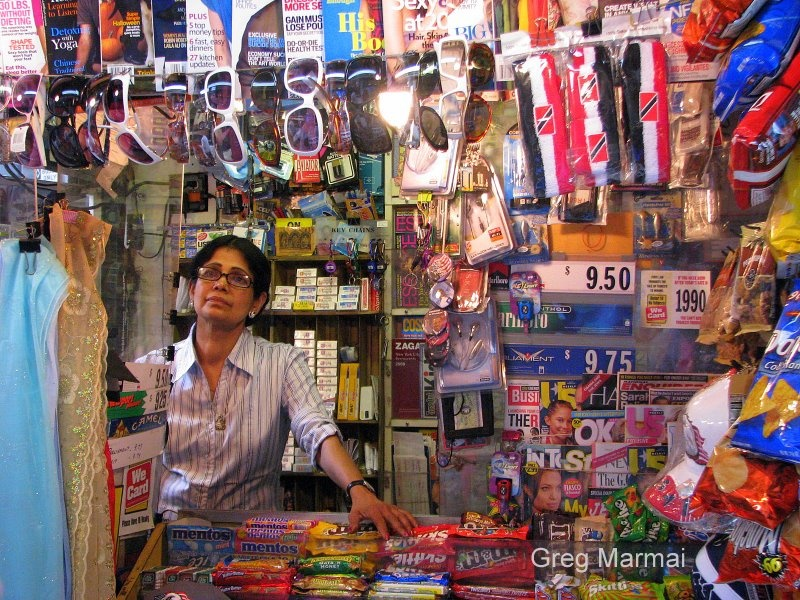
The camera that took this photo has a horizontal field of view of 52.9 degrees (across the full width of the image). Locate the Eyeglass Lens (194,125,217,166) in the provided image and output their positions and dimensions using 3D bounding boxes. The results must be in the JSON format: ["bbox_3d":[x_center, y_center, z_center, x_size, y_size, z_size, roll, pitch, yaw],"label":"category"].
[{"bbox_3d":[-0.714,-0.568,2.967,0.087,0.131,0.053,11,27,30],"label":"Eyeglass Lens"}]

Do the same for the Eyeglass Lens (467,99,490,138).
[{"bbox_3d":[0.274,-0.657,2.937,0.106,0.134,0.044,4,1,-37],"label":"Eyeglass Lens"}]

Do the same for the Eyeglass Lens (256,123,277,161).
[{"bbox_3d":[-0.478,-0.583,2.927,0.097,0.131,0.023,12,20,20],"label":"Eyeglass Lens"}]

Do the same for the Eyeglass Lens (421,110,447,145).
[{"bbox_3d":[0.119,-0.612,2.856,0.025,0.111,0.089,-2,34,41],"label":"Eyeglass Lens"}]

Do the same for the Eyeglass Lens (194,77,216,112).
[{"bbox_3d":[-0.706,-0.750,2.951,0.086,0.126,0.049,8,11,43],"label":"Eyeglass Lens"}]

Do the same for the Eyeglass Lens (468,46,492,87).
[{"bbox_3d":[0.292,-0.836,2.867,0.109,0.135,0.063,-1,15,-1],"label":"Eyeglass Lens"}]

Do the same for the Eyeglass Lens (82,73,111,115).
[{"bbox_3d":[-1.091,-0.755,2.910,0.112,0.042,0.120,-11,-25,-13],"label":"Eyeglass Lens"}]

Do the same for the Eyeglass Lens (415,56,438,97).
[{"bbox_3d":[0.098,-0.780,2.803,0.077,0.120,0.034,0,-2,3],"label":"Eyeglass Lens"}]

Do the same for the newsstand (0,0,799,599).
[{"bbox_3d":[0.028,-0.033,2.849,2.251,2.174,0.289,0,-5,5],"label":"newsstand"}]

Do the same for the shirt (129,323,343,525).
[{"bbox_3d":[-0.565,0.477,3.057,1.021,0.761,0.574,1,-10,-4],"label":"shirt"}]

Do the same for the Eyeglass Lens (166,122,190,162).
[{"bbox_3d":[-0.830,-0.589,3.007,0.086,0.165,0.056,-2,-11,-25],"label":"Eyeglass Lens"}]

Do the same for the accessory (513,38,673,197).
[{"bbox_3d":[0.734,-0.657,3.012,0.477,0.523,0.150,-3,6,19],"label":"accessory"}]

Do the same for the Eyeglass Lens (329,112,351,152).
[{"bbox_3d":[-0.204,-0.607,2.985,0.051,0.169,0.090,-19,-19,14],"label":"Eyeglass Lens"}]
